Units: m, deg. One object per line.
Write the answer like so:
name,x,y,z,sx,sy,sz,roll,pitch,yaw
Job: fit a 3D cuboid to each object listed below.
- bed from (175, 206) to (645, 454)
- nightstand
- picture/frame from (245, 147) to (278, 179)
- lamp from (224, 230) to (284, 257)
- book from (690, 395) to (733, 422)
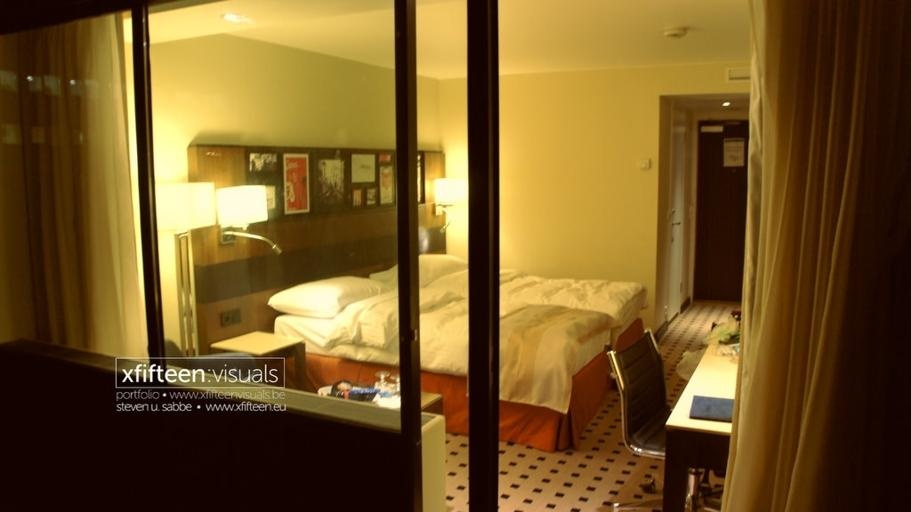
bed,-0.389,0.389,3.654,1.853,0.917,2.025,3,11,25
nightstand,-0.949,0.472,3.274,0.313,0.304,0.325,5,13,26
picture/frame,-0.944,-0.452,3.253,0.155,0.114,0.022,-2,2,18
lamp,-0.985,-0.058,3.288,0.219,0.070,0.032,23,26,6
book,1.278,0.774,3.342,0.149,0.016,0.164,2,8,31
